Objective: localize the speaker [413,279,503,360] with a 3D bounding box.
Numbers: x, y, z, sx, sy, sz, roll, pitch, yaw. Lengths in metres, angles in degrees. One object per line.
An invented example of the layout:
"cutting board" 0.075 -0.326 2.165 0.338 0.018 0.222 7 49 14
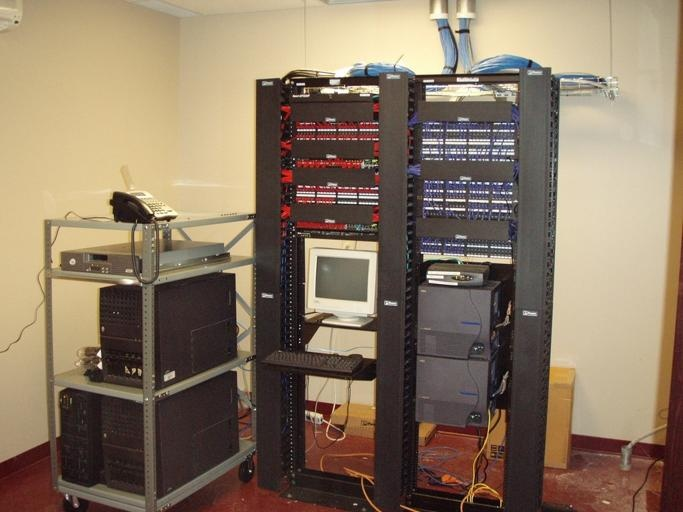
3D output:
"speaker" 0.689 0.330 3.729 0.436 0.414 0.442 1 3 23

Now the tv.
"tv" 0.017 0.198 3.923 0.482 0.489 0.268 1 -5 15

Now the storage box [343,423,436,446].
"storage box" 0.373 1.270 4.657 0.667 0.145 0.297 0 8 3

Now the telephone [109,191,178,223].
"telephone" -1.125 -0.272 3.577 0.246 0.139 0.245 2 10 6
